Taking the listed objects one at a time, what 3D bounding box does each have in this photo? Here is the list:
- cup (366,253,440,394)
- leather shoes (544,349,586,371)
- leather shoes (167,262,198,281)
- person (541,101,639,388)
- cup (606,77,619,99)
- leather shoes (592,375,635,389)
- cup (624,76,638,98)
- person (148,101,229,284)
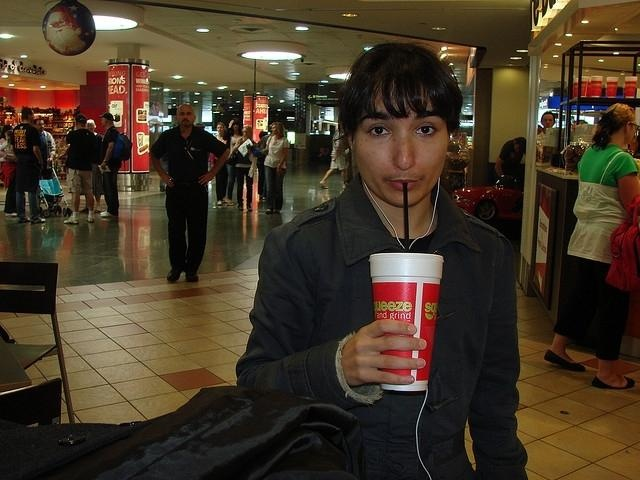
[{"bbox_3d":[0.144,0.155,0.841,0.130,0.259,0.129,1,13,0],"label":"cup"},{"bbox_3d":[2.077,1.050,4.058,0.377,0.141,0.137,9,-2,15],"label":"leather shoes"},{"bbox_3d":[-1.797,0.460,6.124,0.495,0.192,0.157,3,-2,-12],"label":"leather shoes"},{"bbox_3d":[2.338,0.020,3.887,0.644,2.236,0.955,5,13,17],"label":"person"},{"bbox_3d":[3.248,-1.686,5.211,0.118,0.242,0.328,8,14,28],"label":"cup"},{"bbox_3d":[2.302,1.137,3.696,0.316,0.084,0.118,-3,2,1],"label":"leather shoes"},{"bbox_3d":[3.521,-1.726,5.303,0.118,0.248,0.275,8,14,28],"label":"cup"},{"bbox_3d":[-1.696,-0.565,5.999,0.880,2.244,0.567,-1,13,-13],"label":"person"}]
